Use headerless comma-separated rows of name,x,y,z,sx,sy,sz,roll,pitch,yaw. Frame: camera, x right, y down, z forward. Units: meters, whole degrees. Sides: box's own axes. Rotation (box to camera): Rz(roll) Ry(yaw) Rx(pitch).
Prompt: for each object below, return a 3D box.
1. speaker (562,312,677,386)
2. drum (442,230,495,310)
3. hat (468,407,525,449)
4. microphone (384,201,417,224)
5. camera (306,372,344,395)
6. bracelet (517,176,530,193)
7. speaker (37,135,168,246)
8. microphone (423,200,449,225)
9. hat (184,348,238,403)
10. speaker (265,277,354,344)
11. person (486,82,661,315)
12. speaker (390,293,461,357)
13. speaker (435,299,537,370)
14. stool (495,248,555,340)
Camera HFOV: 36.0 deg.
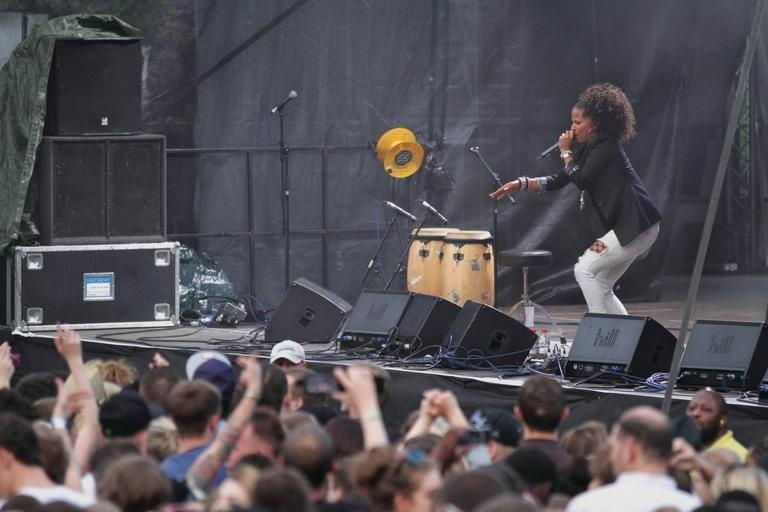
speaker,1.836,0.742,9.457,0.685,0.482,0.665,1,5,39
drum,0.810,0.199,12.129,0.585,0.790,0.561,2,8,0
hat,0.703,1.151,7.740,0.369,0.271,0.259,5,-11,-14
microphone,0.187,-0.487,13.157,0.412,0.120,0.107,31,16,11
camera,-0.378,0.770,7.184,0.222,0.132,0.196,6,0,7
bracelet,1.319,-0.680,11.114,0.112,0.133,0.075,1,-3,6
speaker,-2.741,-0.614,11.671,1.161,1.029,0.783,0,-4,-14
microphone,0.551,-0.472,12.974,0.381,0.110,0.136,39,-24,-4
hat,-1.142,0.803,7.846,0.323,0.316,0.564,6,0,-8
speaker,-0.731,0.622,10.997,0.770,0.578,0.756,9,-30,1
person,1.989,-0.524,10.594,0.947,2.077,0.346,7,1,7
speaker,0.357,0.610,10.201,0.372,0.440,0.249,25,-12,23
speaker,0.851,0.689,10.103,0.487,0.397,0.258,22,1,-9
stool,1.466,0.349,12.274,0.730,0.718,0.656,0,2,-15
